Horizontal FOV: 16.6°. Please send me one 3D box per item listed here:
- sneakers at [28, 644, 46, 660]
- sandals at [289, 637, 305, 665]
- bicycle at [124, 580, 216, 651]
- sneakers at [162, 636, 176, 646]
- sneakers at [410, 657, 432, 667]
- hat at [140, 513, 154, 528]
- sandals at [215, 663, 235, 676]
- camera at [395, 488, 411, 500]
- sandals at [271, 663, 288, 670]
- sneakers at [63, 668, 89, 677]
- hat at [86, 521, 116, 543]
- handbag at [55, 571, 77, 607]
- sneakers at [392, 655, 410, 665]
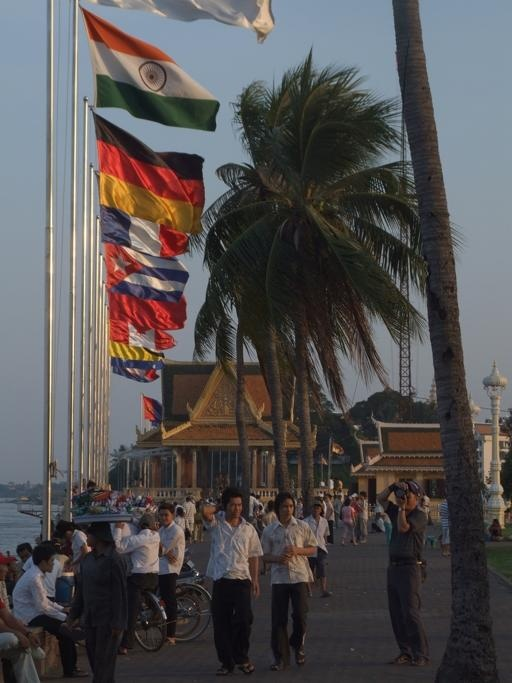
[{"bbox_3d":[-2.245,3.169,17.903,0.117,0.135,0.420,-1,-8,-5],"label":"sneakers"},{"bbox_3d":[0.437,3.334,18.897,0.096,0.357,0.133,-6,2,10],"label":"sandals"},{"bbox_3d":[-0.987,3.265,20.936,0.964,0.672,0.510,-17,-14,-40],"label":"bicycle"},{"bbox_3d":[-0.998,3.535,20.710,0.111,0.092,0.310,-4,-8,19],"label":"sneakers"},{"bbox_3d":[1.766,3.388,18.690,0.173,0.091,0.077,7,5,-2],"label":"sneakers"},{"bbox_3d":[-1.295,2.099,20.639,0.104,0.091,0.185,17,-13,3],"label":"hat"},{"bbox_3d":[-0.330,3.464,18.485,0.202,0.103,0.072,8,-12,-29],"label":"sandals"},{"bbox_3d":[1.590,1.660,19.106,0.122,0.110,0.135,3,-10,-19],"label":"camera"},{"bbox_3d":[0.246,3.450,18.660,0.198,0.091,0.210,-1,-8,-7],"label":"sandals"},{"bbox_3d":[-1.926,3.534,18.742,0.213,0.112,0.103,-3,-2,6],"label":"sneakers"},{"bbox_3d":[-1.550,1.881,17.327,0.251,0.217,0.199,-1,-7,-8],"label":"hat"},{"bbox_3d":[-2.249,2.897,20.510,0.277,0.361,0.288,1,-9,-8],"label":"handbag"},{"bbox_3d":[1.561,3.408,18.838,0.176,0.098,0.084,5,-4,-9],"label":"sneakers"}]
